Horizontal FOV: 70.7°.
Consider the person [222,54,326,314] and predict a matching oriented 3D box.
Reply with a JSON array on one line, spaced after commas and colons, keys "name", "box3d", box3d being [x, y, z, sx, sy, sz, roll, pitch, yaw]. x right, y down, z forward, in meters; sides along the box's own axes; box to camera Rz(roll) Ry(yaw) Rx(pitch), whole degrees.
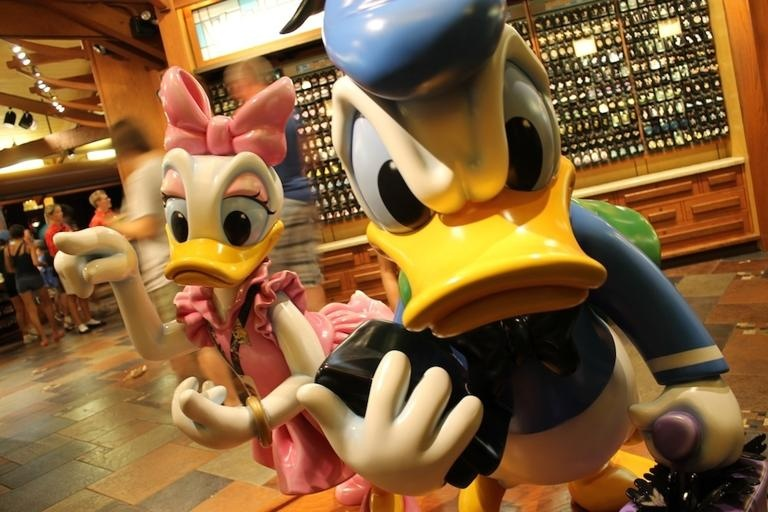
[{"name": "person", "box3d": [-0.612, -0.420, 3.218, 0.378, 1.599, 1.044, -10, 12, -12]}]
